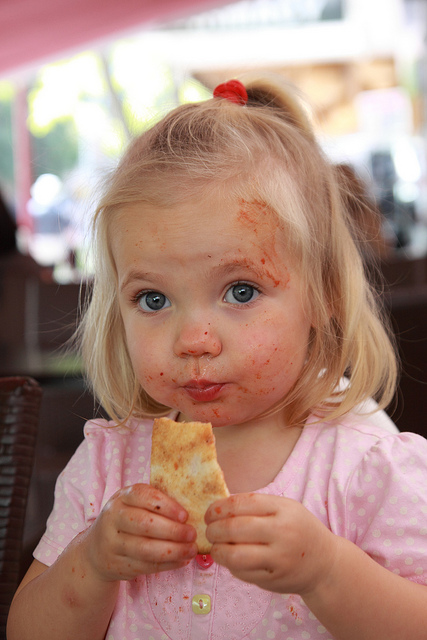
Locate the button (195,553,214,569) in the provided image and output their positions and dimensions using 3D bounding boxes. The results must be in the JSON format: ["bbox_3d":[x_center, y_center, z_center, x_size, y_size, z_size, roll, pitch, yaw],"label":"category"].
[{"bbox_3d":[-0.015,0.390,1.013,0.022,0.020,0.026,-27,47,-19],"label":"button"}]

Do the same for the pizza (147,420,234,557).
[{"bbox_3d":[-0.044,0.246,0.944,0.038,0.182,0.191,14,7,-45],"label":"pizza"}]

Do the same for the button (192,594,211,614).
[{"bbox_3d":[-0.019,0.452,0.990,0.030,0.018,0.026,1,44,8],"label":"button"}]
